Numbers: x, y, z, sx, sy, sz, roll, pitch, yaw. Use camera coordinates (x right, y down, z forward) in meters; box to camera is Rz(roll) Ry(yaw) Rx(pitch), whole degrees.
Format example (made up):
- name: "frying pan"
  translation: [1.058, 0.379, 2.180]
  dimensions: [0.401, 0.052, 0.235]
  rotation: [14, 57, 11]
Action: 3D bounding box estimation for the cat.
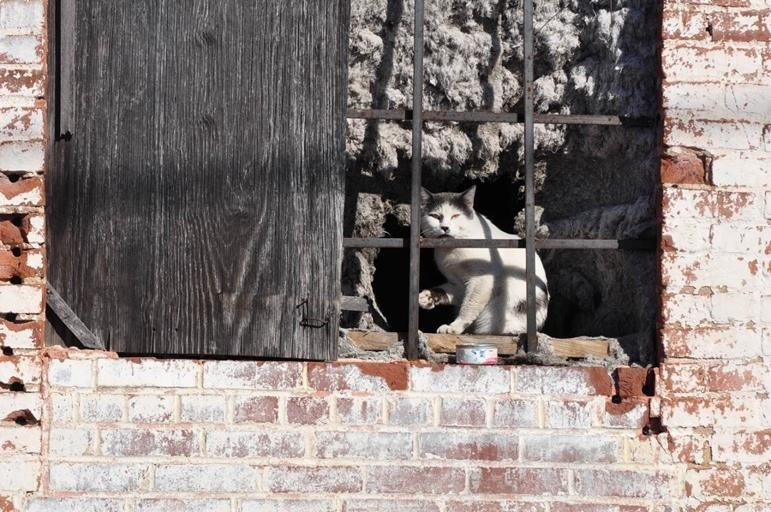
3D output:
- name: "cat"
  translation: [0.551, 0.064, 11.013]
  dimensions: [0.838, 0.880, 0.437]
  rotation: [8, -2, -34]
